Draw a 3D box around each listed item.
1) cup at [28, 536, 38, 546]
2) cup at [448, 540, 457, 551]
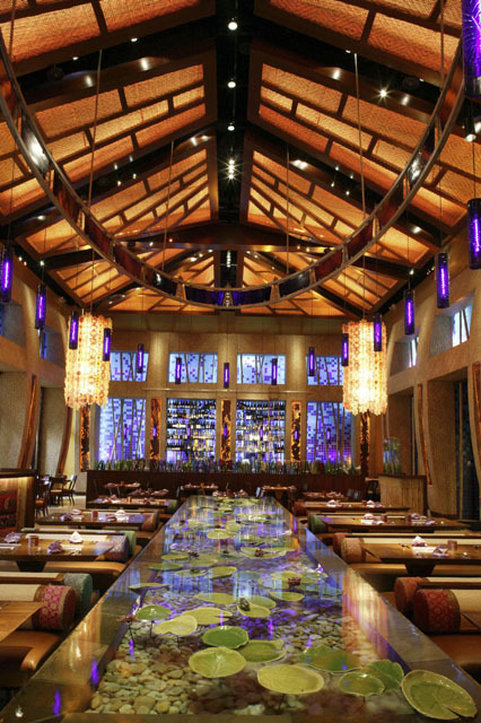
[{"bbox_3d":[-1.517,1.316,4.016,0.050,0.057,0.051,0,-10,0],"label":"cup"},{"bbox_3d":[1.704,1.462,4.392,0.067,0.081,0.073,3,-5,0],"label":"cup"}]
